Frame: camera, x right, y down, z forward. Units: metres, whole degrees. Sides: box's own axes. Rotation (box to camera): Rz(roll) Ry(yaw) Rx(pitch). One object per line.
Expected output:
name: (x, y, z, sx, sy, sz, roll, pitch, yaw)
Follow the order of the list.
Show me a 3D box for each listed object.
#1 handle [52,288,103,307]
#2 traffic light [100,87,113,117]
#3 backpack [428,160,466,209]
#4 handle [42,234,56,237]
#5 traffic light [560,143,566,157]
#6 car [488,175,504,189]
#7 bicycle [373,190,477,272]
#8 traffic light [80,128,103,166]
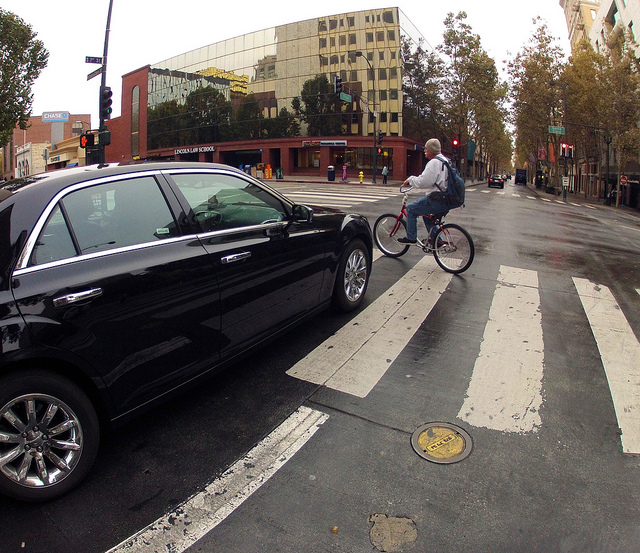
handle: (-1.380, 0.112, 2.812, 0.027, 0.052, 0.272, 12, 21, 43)
traffic light: (-7.108, -5.726, 16.364, 0.357, 0.921, 0.561, -6, 15, -25)
backpack: (1.827, -1.380, 7.210, 0.555, 0.681, 0.484, 1, 33, 9)
handle: (-1.580, -0.237, 2.878, 0.063, 0.013, 0.012, -5, 40, -44)
traffic light: (21.026, -10.856, 42.817, 0.223, 1.067, 0.921, 5, 2, 28)
car: (19.251, -10.323, 54.182, 1.384, 1.318, 2.552, 4, 17, 17)
bicycle: (1.510, -0.744, 7.421, 1.591, 1.226, 0.814, 12, 23, 29)
traffic light: (-9.583, -5.317, 20.789, 0.806, 2.253, 0.516, -4, 44, -24)
